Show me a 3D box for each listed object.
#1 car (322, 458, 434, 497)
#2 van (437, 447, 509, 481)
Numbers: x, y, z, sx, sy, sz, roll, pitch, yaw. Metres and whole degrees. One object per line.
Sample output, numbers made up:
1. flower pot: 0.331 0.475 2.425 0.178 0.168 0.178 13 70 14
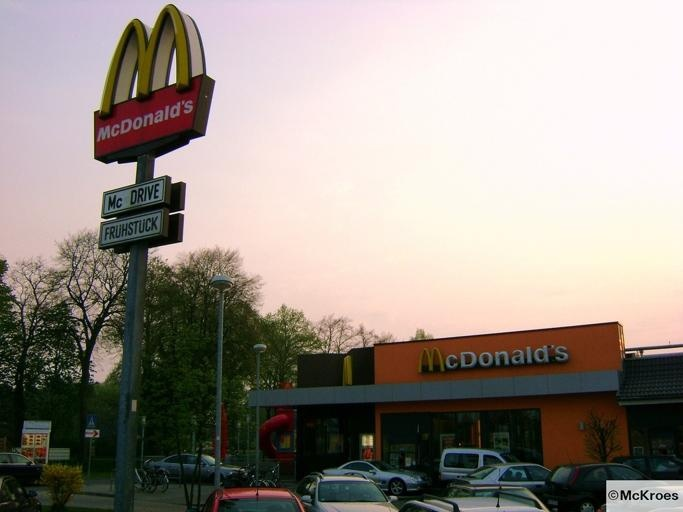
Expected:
1. car: 1.553 10.607 32.256 4.993 1.738 2.338 -4 -7 15
2. van: 5.535 9.059 31.325 2.284 1.342 1.507 -6 -9 12
